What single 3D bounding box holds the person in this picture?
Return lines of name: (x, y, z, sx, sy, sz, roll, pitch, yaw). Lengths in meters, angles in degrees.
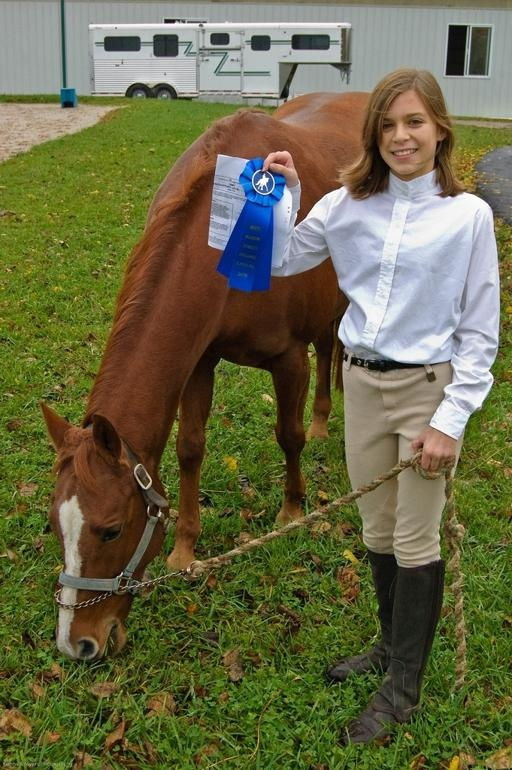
person: (0.412, 0.083, 2.063, 0.410, 1.957, 0.654, -6, 20, -18)
